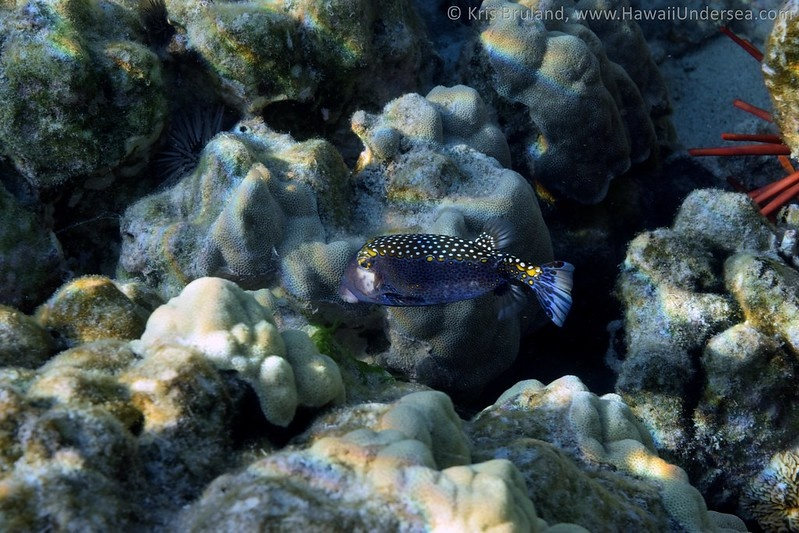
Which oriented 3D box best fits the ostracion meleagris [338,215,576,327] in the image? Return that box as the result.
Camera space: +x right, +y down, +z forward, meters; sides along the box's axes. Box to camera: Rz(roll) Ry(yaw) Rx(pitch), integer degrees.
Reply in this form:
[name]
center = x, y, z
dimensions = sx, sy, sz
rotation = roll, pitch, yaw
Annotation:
[ostracion meleagris]
center = 0.386, 0.028, 7.667
dimensions = 1.700, 0.451, 0.740
rotation = 3, -67, 6
